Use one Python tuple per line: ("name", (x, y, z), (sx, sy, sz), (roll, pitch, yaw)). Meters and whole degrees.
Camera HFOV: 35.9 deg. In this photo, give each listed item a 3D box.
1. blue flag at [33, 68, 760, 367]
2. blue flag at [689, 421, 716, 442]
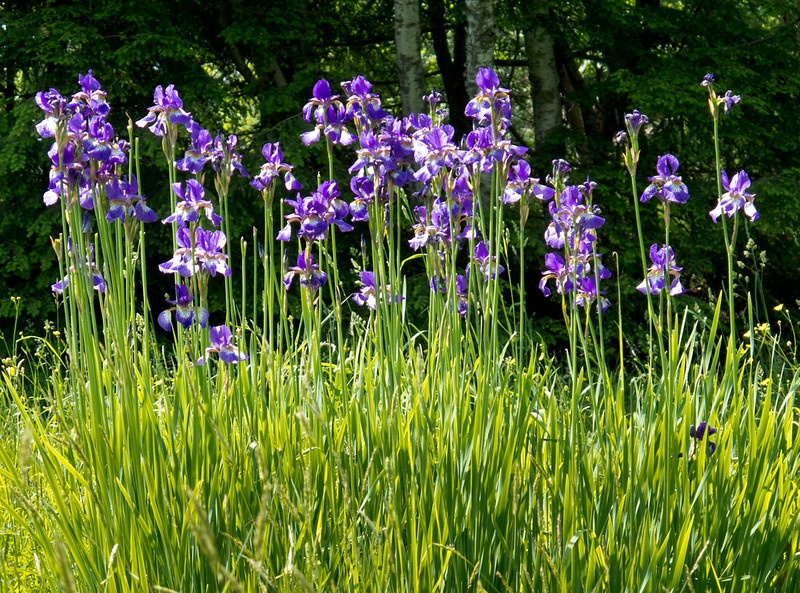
("blue flag", (-0.225, -0.341, 8.186), (4.488, 2.384, 3.091), (1, -7, 1))
("blue flag", (1.729, 0.767, 7.061), (0.084, 0.086, 0.126), (-8, 4, 12))
